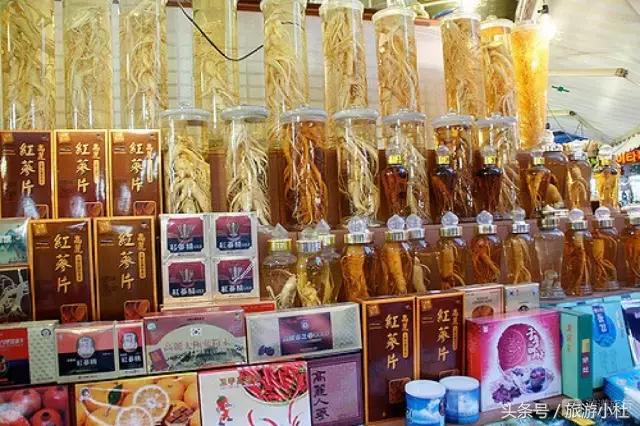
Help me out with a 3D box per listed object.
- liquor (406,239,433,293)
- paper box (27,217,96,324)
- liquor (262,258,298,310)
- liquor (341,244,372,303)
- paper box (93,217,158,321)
[{"bbox_3d":[0.446,0.220,2.179,0.145,0.283,0.139,-1,11,7],"label":"liquor"},{"bbox_3d":[-0.973,0.218,1.821,0.238,0.398,0.094,-8,11,-7],"label":"paper box"},{"bbox_3d":[-0.160,0.295,2.043,0.162,0.234,0.147,-3,-6,-13],"label":"liquor"},{"bbox_3d":[0.155,0.205,2.062,0.125,0.390,0.120,-5,18,-7],"label":"liquor"},{"bbox_3d":[-0.766,0.216,1.963,0.311,0.417,0.294,0,0,-31],"label":"paper box"}]
